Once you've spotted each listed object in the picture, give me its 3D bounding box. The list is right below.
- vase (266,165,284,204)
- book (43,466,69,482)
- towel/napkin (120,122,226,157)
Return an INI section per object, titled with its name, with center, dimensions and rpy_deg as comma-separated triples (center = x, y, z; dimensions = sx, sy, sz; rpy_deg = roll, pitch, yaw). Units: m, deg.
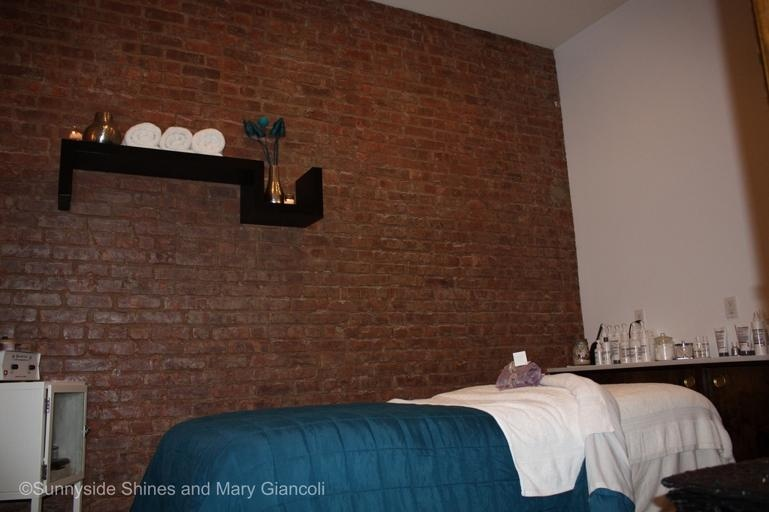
[vase]
center = -0.878, -0.560, 4.339
dimensions = 0.214, 0.323, 0.206
rpy_deg = -2, 17, -15
[book]
center = -1.988, 1.316, 3.306
dimensions = 0.095, 0.054, 0.091
rpy_deg = 2, -7, -11
[towel/napkin]
center = -1.596, -0.889, 4.139
dimensions = 0.714, 0.234, 0.168
rpy_deg = 2, -12, -22
